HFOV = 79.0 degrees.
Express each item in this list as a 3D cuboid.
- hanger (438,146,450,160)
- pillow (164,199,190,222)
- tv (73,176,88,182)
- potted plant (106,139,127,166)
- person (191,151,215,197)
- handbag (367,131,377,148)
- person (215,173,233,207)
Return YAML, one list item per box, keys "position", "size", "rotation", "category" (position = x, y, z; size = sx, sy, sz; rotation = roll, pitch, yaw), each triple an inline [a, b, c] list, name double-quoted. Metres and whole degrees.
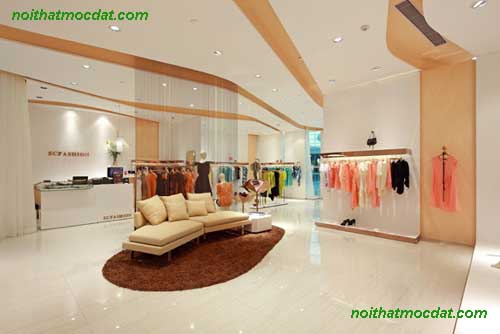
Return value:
- position: [4.514, -0.312, 7.005]
  size: [0.015, 0.224, 0.317]
  rotation: [1, 0, -21]
  category: "hanger"
- position: [-1.643, 0.987, 6.718]
  size: [0.412, 0.355, 0.193]
  rotation: [-4, -29, -39]
  category: "pillow"
- position: [-4.685, 0.339, 8.353]
  size: [0.252, 0.157, 0.250]
  rotation: [3, -2, -16]
  category: "tv"
- position: [-4.719, -0.551, 10.671]
  size: [0.771, 0.915, 0.627]
  rotation: [6, -6, -25]
  category: "potted plant"
- position: [-1.270, 0.237, 8.134]
  size: [0.502, 1.335, 0.355]
  rotation: [-3, 30, -15]
  category: "person"
- position: [3.158, -0.693, 7.791]
  size: [0.236, 0.416, 0.215]
  rotation: [6, 16, 23]
  category: "handbag"
- position: [-0.685, 0.646, 8.313]
  size: [0.443, 0.893, 0.322]
  rotation: [-11, 22, -23]
  category: "person"
